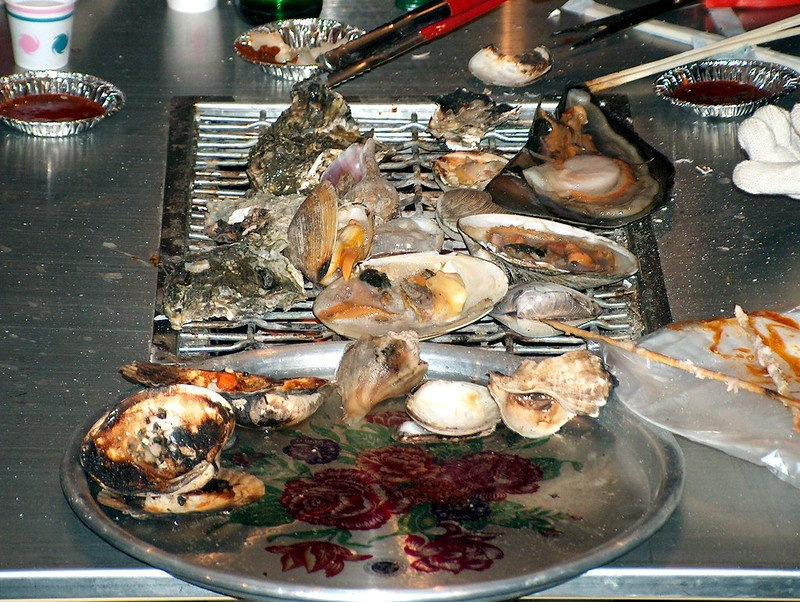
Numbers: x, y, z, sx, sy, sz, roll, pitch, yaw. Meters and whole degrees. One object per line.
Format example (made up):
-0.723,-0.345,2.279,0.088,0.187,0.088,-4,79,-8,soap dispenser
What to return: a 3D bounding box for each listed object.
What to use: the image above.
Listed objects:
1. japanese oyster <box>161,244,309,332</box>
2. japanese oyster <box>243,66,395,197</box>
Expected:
-0.288,-0.033,1.597,0.242,0.055,0.181,-7,47,-18,japanese oyster
-0.162,-0.341,1.900,0.382,0.217,0.341,-14,36,-17,japanese oyster
